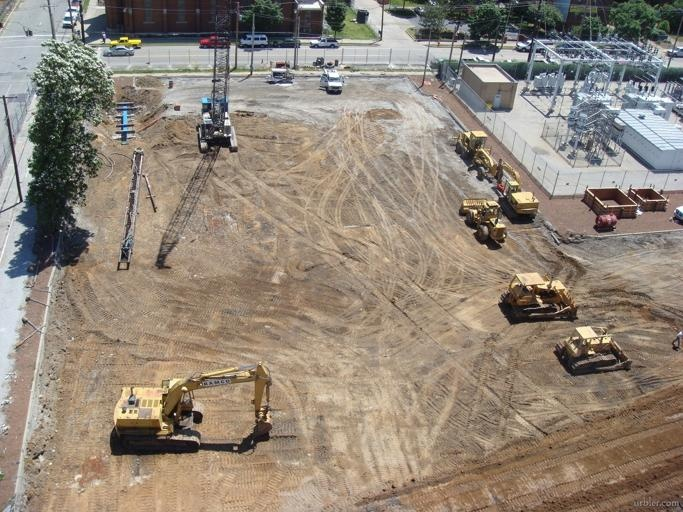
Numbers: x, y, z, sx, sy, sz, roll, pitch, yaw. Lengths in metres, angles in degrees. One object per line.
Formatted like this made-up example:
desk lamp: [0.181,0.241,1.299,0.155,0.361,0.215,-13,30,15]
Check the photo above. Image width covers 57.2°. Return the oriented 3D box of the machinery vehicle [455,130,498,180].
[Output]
machinery vehicle: [13.596,-8.811,57.693,5.263,4.377,4.311,6,20,0]

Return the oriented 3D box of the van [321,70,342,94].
van: [-1.102,-19.541,70.598,1.934,1.565,3.241,-6,48,-9]

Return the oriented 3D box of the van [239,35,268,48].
van: [-11.716,-28.896,84.264,3.648,1.462,4.901,1,25,-10]

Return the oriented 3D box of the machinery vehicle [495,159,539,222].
machinery vehicle: [15.257,-5.651,53.615,3.331,3.398,6.423,4,25,-4]

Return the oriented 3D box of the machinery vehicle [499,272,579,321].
machinery vehicle: [13.923,2.514,43.981,4.971,2.288,3.335,-1,31,-15]
